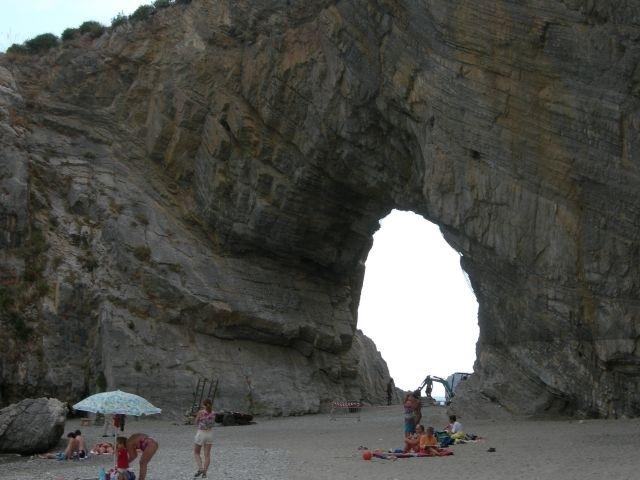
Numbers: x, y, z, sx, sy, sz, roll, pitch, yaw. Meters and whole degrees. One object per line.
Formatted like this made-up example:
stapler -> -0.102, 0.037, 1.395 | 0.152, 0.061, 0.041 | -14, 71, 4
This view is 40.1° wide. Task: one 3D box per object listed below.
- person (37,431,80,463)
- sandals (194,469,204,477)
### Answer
person -> -9.204, 7.566, 31.763 | 1.260, 0.873, 0.957 | -1, -26, 0
sandals -> -3.998, 7.704, 28.632 | 0.424, 0.260, 0.216 | -20, -29, 40
